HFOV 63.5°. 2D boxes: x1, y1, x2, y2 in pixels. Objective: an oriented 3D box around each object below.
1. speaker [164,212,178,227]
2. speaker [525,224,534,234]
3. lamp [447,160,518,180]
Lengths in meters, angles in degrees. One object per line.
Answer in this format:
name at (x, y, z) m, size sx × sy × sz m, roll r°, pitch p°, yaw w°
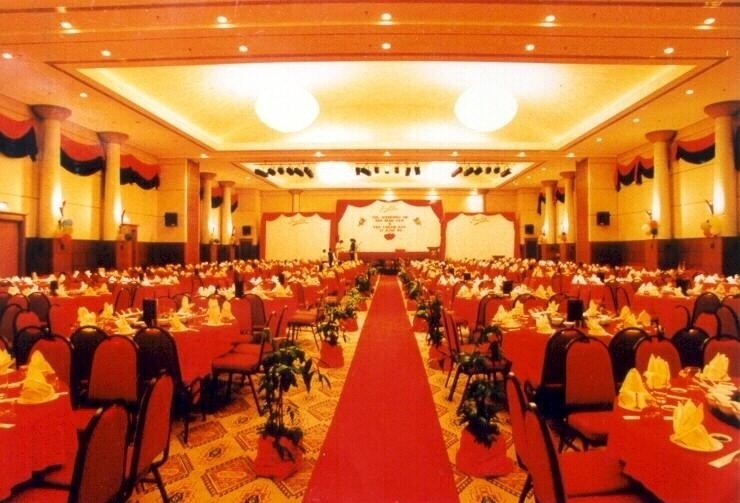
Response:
speaker at (-7.004, -1.094, 20.971) m, size 0.426 × 0.461 × 0.227 m, roll 0°, pitch -5°, yaw -4°
speaker at (7.760, -1.052, 28.985) m, size 0.518 × 0.553 × 0.391 m, roll 1°, pitch 9°, yaw 6°
lamp at (4.177, -2.950, 21.727) m, size 1.756 × 0.463 × 1.197 m, roll -2°, pitch 12°, yaw 3°
